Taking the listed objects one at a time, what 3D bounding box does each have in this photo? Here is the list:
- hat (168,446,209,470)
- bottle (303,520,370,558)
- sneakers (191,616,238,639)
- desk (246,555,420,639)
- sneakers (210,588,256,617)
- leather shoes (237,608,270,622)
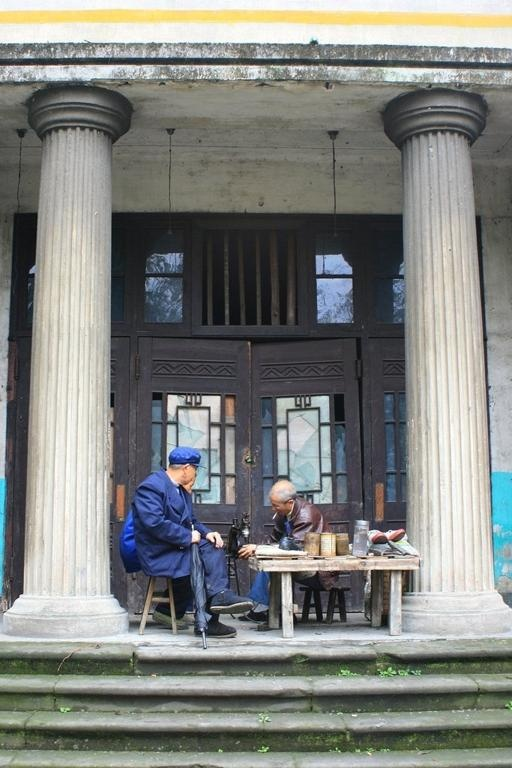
[{"bbox_3d":[-0.483,0.528,7.769,0.200,0.112,0.130,-2,8,-27],"label":"hat"},{"bbox_3d":[0.545,1.060,7.460,0.436,0.240,0.242,-1,-7,5],"label":"bottle"},{"bbox_3d":[-0.273,1.635,7.358,0.303,0.148,0.116,-1,-10,7],"label":"sneakers"},{"bbox_3d":[0.536,1.441,7.584,1.149,0.541,0.964,-1,-7,0],"label":"desk"},{"bbox_3d":[-0.167,1.459,7.316,0.282,0.162,0.301,0,-7,-3],"label":"sneakers"},{"bbox_3d":[-0.013,1.756,8.367,0.286,0.124,0.101,1,-5,24],"label":"leather shoes"}]
